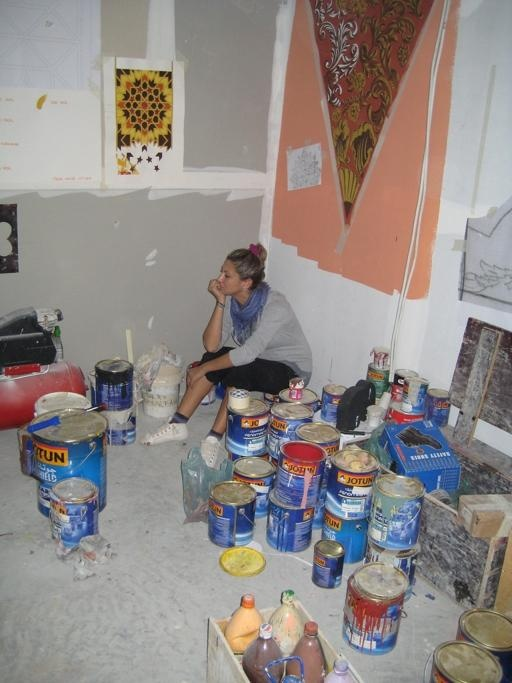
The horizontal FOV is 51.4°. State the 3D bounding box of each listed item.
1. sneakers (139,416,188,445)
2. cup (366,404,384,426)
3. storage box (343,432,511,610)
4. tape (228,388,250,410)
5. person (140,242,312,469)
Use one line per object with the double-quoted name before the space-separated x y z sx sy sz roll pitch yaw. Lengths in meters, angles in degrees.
"sneakers" -0.519 0.488 2.816 0.287 0.160 0.094 -9 34 -23
"cup" 0.523 0.326 2.398 0.081 0.082 0.083 -2 23 1
"storage box" 0.591 0.625 1.687 0.343 0.204 0.476 -12 25 -33
"tape" -0.076 0.241 2.299 0.080 0.055 0.080 -10 20 -32
"person" -0.048 -0.035 3.173 1.260 1.462 0.754 -9 17 -28
